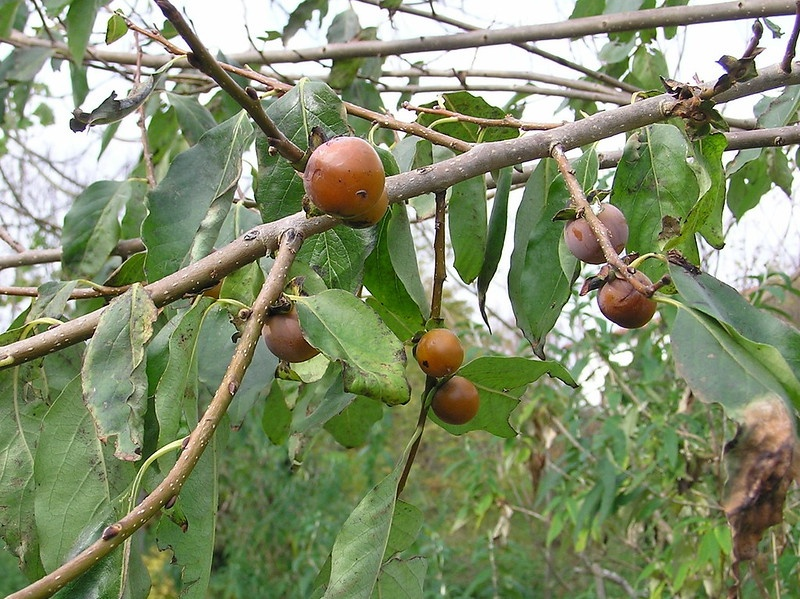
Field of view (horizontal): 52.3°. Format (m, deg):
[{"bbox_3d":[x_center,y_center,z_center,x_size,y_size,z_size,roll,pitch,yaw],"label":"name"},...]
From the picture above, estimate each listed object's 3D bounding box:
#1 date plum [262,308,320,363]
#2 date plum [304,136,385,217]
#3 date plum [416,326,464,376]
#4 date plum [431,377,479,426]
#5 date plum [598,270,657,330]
[{"bbox_3d":[-0.223,0.088,1.687,0.114,0.073,0.142,-9,-33,18],"label":"date plum"},{"bbox_3d":[-0.105,-0.239,1.613,0.143,0.181,0.140,7,13,36],"label":"date plum"},{"bbox_3d":[0.103,0.105,1.810,0.086,0.094,0.103,-24,-56,30],"label":"date plum"},{"bbox_3d":[0.122,0.222,1.851,0.094,0.125,0.097,2,6,8],"label":"date plum"},{"bbox_3d":[0.468,-0.012,1.679,0.084,0.103,0.087,11,-64,-18],"label":"date plum"}]
